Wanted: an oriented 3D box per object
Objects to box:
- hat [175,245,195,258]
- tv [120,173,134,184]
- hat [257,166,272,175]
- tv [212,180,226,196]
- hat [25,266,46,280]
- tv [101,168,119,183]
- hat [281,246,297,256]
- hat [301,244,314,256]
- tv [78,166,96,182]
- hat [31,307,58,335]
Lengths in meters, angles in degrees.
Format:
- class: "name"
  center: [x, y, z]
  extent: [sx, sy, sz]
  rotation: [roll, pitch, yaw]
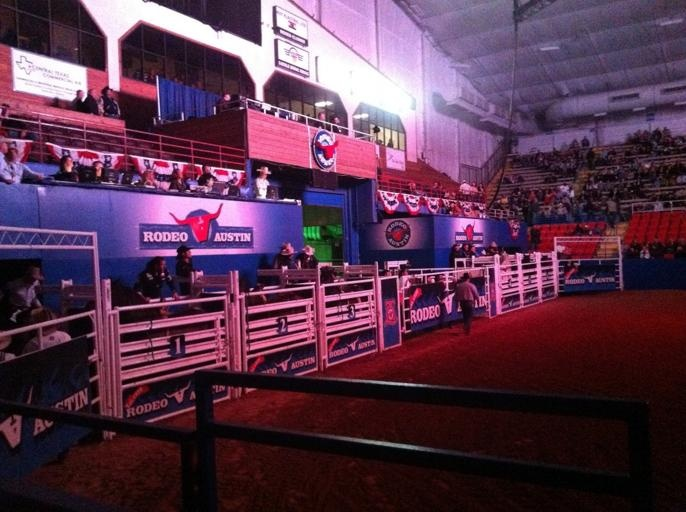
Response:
- class: "hat"
  center: [-3.614, -0.104, 13.003]
  extent: [0.445, 0.206, 0.493]
  rotation: [-3, 4, -33]
- class: "tv"
  center: [-5.451, -1.956, 14.575]
  extent: [0.302, 0.327, 0.240]
  rotation: [1, -1, -9]
- class: "hat"
  center: [-2.583, -2.788, 18.720]
  extent: [0.426, 0.198, 0.490]
  rotation: [1, -1, -22]
- class: "tv"
  center: [-3.630, -1.985, 16.856]
  extent: [0.350, 0.260, 0.368]
  rotation: [-4, 5, -3]
- class: "hat"
  center: [-5.347, 0.298, 9.996]
  extent: [0.379, 0.217, 0.280]
  rotation: [7, -5, 33]
- class: "tv"
  center: [-5.655, -1.974, 14.122]
  extent: [0.169, 0.374, 0.651]
  rotation: [1, 4, 12]
- class: "hat"
  center: [-1.543, -0.171, 15.957]
  extent: [0.369, 0.300, 0.318]
  rotation: [-2, 4, -31]
- class: "hat"
  center: [-0.909, -0.202, 15.510]
  extent: [0.306, 0.163, 0.366]
  rotation: [17, -12, -14]
- class: "tv"
  center: [-6.041, -1.940, 13.596]
  extent: [0.316, 0.481, 0.437]
  rotation: [-4, 10, -18]
- class: "hat"
  center: [-4.259, 0.932, 8.176]
  extent: [0.296, 0.351, 0.506]
  rotation: [-1, 4, -19]
